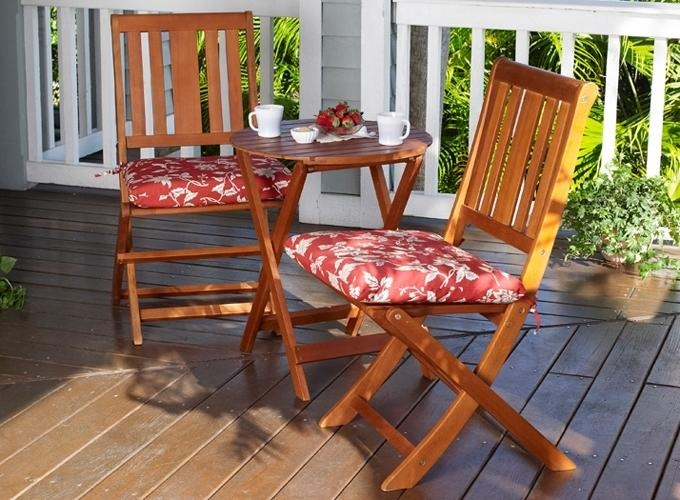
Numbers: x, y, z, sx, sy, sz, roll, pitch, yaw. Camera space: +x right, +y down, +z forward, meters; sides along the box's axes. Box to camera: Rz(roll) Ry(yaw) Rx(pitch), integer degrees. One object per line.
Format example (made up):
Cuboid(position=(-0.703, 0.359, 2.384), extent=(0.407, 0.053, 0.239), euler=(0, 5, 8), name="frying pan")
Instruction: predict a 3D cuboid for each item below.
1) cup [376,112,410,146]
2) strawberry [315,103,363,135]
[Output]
Cuboid(position=(0.192, -0.448, 2.159), extent=(0.177, 0.097, 0.125), euler=(11, 27, 24), name="cup")
Cuboid(position=(0.000, -0.486, 2.219), extent=(0.173, 0.072, 0.152), euler=(5, 26, 10), name="strawberry")
